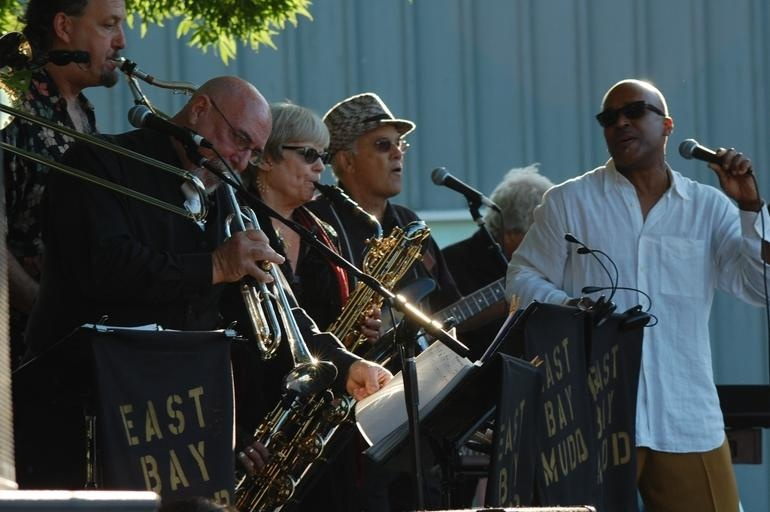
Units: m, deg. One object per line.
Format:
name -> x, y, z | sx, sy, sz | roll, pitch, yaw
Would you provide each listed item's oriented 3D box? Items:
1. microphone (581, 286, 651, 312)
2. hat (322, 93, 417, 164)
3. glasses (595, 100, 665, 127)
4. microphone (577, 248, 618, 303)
microphone -> 1.509, 0.250, 12.477 | 0.311, 0.109, 0.221 | 22, -8, -19
hat -> -0.149, -0.950, 13.497 | 0.562, 0.209, 0.478 | -24, 2, 20
glasses -> 1.610, -0.919, 12.674 | 0.448, 0.150, 0.122 | -1, -13, 9
microphone -> 1.356, 0.112, 12.407 | 0.277, 0.344, 0.290 | -5, -5, -10
